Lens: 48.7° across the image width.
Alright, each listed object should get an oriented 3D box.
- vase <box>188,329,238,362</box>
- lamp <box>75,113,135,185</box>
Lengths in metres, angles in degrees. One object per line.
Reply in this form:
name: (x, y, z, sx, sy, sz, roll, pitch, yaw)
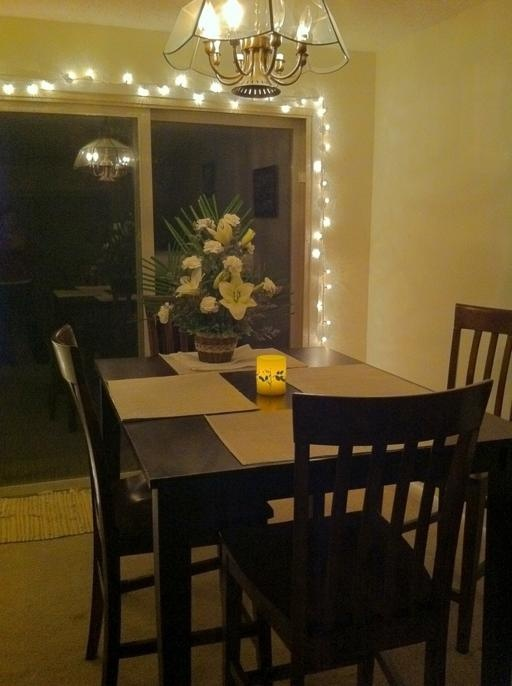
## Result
vase: (-0.118, 0.003, 1.698, 0.091, 0.072, 0.097, -1, 10, -11)
lamp: (-0.683, -0.943, 2.597, 0.237, 0.380, 0.240, 6, 11, 33)
